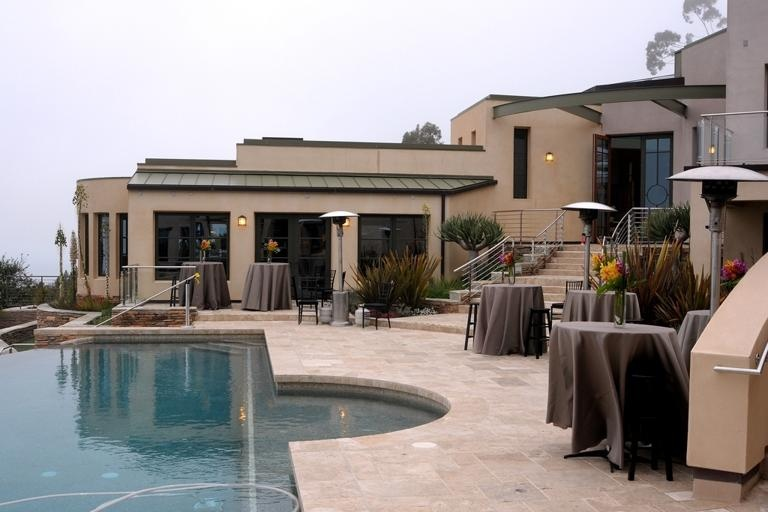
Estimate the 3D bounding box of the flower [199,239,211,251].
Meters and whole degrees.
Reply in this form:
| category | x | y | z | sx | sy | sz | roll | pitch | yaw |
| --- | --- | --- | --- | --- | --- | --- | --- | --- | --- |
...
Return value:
| category | x | y | z | sx | sy | sz | roll | pitch | yaw |
| --- | --- | --- | --- | --- | --- | --- | --- | --- | --- |
| flower | -5.103 | -0.313 | 18.797 | 0.285 | 0.300 | 0.200 | 4 | 17 | 23 |

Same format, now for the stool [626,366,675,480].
| category | x | y | z | sx | sy | sz | roll | pitch | yaw |
| --- | --- | --- | --- | --- | --- | --- | --- | --- | --- |
| stool | 3.077 | 1.933 | 7.688 | 0.552 | 1.128 | 0.440 | -2 | 0 | 13 |

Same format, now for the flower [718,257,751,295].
| category | x | y | z | sx | sy | sz | roll | pitch | yaw |
| --- | --- | --- | --- | --- | --- | --- | --- | --- | --- |
| flower | 5.164 | 0.283 | 9.815 | 0.315 | 0.428 | 0.585 | -2 | 0 | 27 |

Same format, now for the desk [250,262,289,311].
| category | x | y | z | sx | sy | sz | roll | pitch | yaw |
| --- | --- | --- | --- | --- | --- | --- | --- | --- | --- |
| desk | -3.166 | 0.809 | 17.883 | 1.141 | 1.144 | 1.132 | 1 | -2 | -37 |

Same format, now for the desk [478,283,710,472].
| category | x | y | z | sx | sy | sz | roll | pitch | yaw |
| --- | --- | --- | --- | --- | --- | --- | --- | --- | --- |
| desk | 3.109 | 1.488 | 10.115 | 2.483 | 1.899 | 5.465 | -2 | 0 | -4 |
